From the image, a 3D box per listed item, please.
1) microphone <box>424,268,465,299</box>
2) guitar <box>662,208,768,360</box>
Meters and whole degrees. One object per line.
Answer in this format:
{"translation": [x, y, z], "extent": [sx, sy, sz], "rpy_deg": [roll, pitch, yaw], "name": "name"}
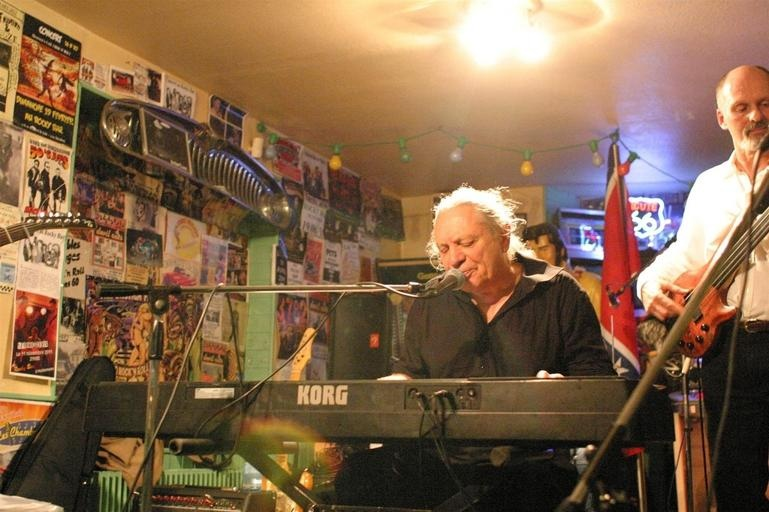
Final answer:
{"translation": [0.271, 0.118, 3.263], "extent": [0.157, 0.155, 0.232], "rpy_deg": [-2, -13, 15], "name": "microphone"}
{"translation": [1.493, 0.143, 3.304], "extent": [0.117, 0.299, 0.827], "rpy_deg": [13, -48, 0], "name": "guitar"}
